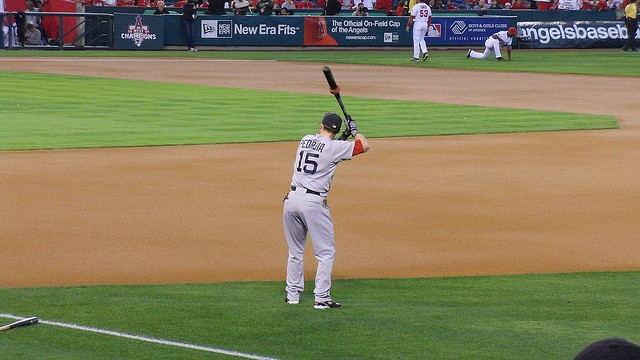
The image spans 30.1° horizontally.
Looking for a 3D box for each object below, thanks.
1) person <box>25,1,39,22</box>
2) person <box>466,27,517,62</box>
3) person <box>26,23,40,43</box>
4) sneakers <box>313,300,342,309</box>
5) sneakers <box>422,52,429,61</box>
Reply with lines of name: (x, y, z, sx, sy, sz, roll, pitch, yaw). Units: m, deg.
person: (-12.997, -7.659, 54.448, 0.638, 1.162, 1.932, -2, 7, -12)
person: (7.718, -5.967, 52.887, 1.181, 1.170, 2.668, 6, -4, -36)
person: (-13.120, -6.771, 54.707, 0.452, 0.313, 1.066, -9, -5, -18)
sneakers: (0.204, 2.995, 28.443, 0.691, 0.228, 0.211, -1, 2, -2)
sneakers: (4.634, -5.315, 51.362, 0.223, 0.195, 0.546, 2, -4, -1)
